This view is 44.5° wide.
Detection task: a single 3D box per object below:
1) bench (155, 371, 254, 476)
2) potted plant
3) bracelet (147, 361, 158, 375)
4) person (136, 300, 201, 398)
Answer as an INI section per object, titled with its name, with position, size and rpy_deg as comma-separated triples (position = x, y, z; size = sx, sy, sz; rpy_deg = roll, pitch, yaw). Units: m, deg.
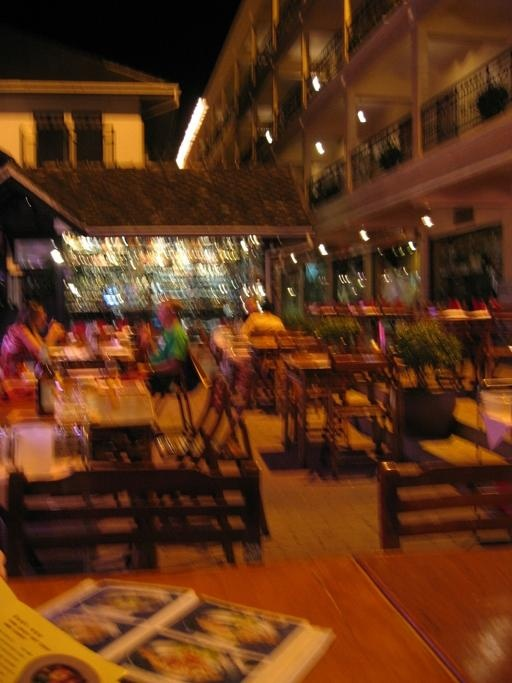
[bench]
position = -0.358, 0.505, 3.936
size = 0.459, 0.215, 0.672
rpy_deg = 3, 22, -8
[potted plant]
position = 1.518, 0.316, 5.573
size = 0.592, 1.014, 0.645
rpy_deg = 5, 4, 14
[bracelet]
position = -0.772, 0.193, 4.666
size = 0.019, 0.090, 0.083
rpy_deg = 3, 5, -41
[person]
position = -0.624, 0.090, 4.703
size = 0.315, 0.798, 0.250
rpy_deg = 6, 27, -9
